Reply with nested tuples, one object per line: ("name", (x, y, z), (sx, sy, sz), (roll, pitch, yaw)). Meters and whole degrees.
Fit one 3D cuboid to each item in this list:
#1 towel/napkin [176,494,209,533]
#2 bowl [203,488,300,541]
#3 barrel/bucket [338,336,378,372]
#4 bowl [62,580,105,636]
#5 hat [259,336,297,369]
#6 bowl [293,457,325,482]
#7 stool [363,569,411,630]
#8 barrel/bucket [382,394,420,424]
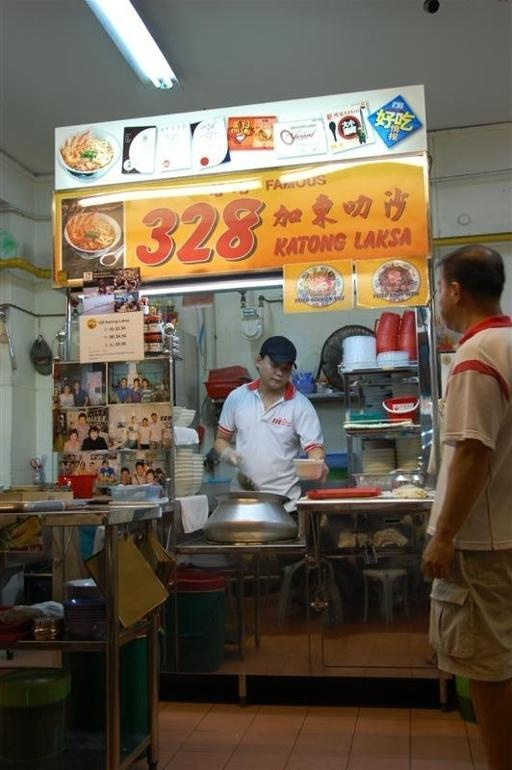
("towel/napkin", (-0.332, 0.671, 3.438), (0.062, 0.196, 0.199), (1, 5, 29))
("bowl", (-0.025, 0.694, 3.427), (0.479, 0.248, 0.498), (-6, -15, -2))
("barrel/bucket", (0.545, -0.161, 3.545), (0.189, 0.194, 0.178), (1, -6, 0))
("bowl", (-0.608, 0.771, 2.295), (0.131, 0.148, 0.171), (2, 1, -19))
("hat", (0.125, -0.197, 3.964), (0.151, 0.124, 0.213), (15, 5, -21))
("bowl", (0.251, 0.404, 3.172), (0.128, 0.082, 0.128), (1, -12, 0))
("stool", (0.546, 0.918, 2.892), (0.229, 0.255, 0.228), (-1, -6, 9))
("barrel/bucket", (0.695, 0.117, 3.175), (0.132, 0.096, 0.131), (0, 0, 0))
